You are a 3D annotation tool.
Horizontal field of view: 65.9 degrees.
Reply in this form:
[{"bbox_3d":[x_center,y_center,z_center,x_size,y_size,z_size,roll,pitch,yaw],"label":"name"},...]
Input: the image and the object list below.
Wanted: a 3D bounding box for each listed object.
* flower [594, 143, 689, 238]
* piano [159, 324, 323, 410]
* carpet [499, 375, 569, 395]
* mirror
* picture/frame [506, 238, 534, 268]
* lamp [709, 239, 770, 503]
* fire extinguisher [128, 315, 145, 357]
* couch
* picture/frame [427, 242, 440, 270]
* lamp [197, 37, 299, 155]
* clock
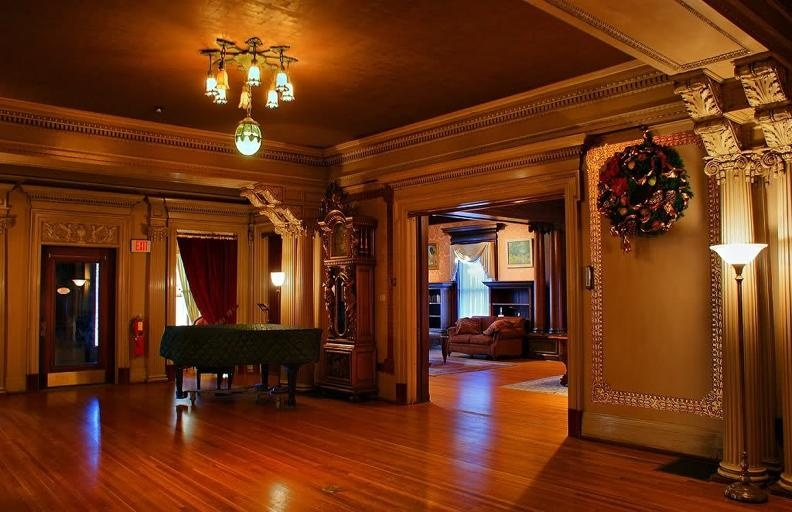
[{"bbox_3d":[2.947,-0.822,7.293,1.031,1.127,0.228,-3,-5,36],"label":"flower"},{"bbox_3d":[-2.568,1.822,10.253,2.877,1.197,2.835,-1,-8,5],"label":"piano"},{"bbox_3d":[2.497,2.323,11.016,1.038,0.063,1.545,-2,-4,12],"label":"carpet"},{"bbox_3d":[-5.876,1.094,11.276,1.163,2.517,0.139,2,-4,-30],"label":"mirror"},{"bbox_3d":[3.213,-0.090,15.759,0.099,0.737,0.762,2,-1,-42],"label":"picture/frame"},{"bbox_3d":[3.579,1.147,6.282,0.460,2.590,0.675,-3,-4,31],"label":"lamp"},{"bbox_3d":[-4.902,1.523,11.605,0.256,0.793,0.174,1,-4,-25],"label":"fire extinguisher"},{"bbox_3d":[2.214,1.998,15.351,1.056,0.958,1.977,4,-6,-34],"label":"couch"},{"bbox_3d":[1.038,0.003,16.798,0.072,0.918,0.800,1,-1,-30],"label":"picture/frame"},{"bbox_3d":[-1.756,-1.902,7.174,1.010,1.416,0.877,3,-2,-37],"label":"lamp"},{"bbox_3d":[-0.824,-0.457,10.126,0.580,1.451,0.775,3,-3,-45],"label":"clock"}]
